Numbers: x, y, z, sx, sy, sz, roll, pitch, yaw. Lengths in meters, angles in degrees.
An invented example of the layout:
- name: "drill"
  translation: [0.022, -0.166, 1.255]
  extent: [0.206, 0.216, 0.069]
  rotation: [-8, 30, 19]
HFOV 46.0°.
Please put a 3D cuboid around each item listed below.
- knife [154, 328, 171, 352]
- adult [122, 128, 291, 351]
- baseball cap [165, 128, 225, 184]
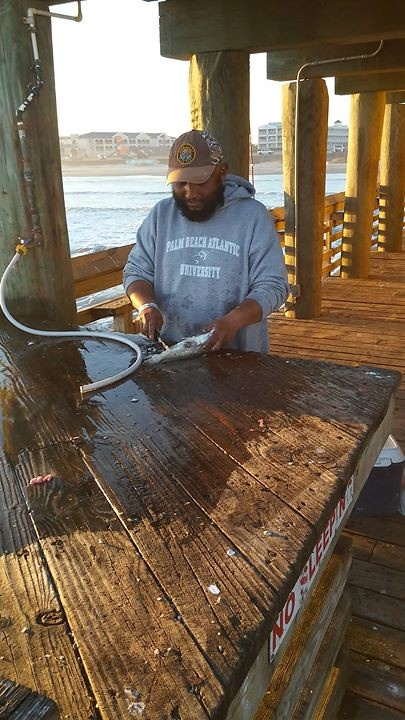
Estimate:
- name: "knife"
  translation: [-0.162, -0.084, 1.930]
  extent: [0.053, 0.083, 0.083]
  rotation: [-41, 2, 11]
- name: "adult"
  translation: [-0.004, -0.398, 2.233]
  extent: [0.712, 1.206, 0.681]
  rotation: [10, 22, 27]
- name: "baseball cap"
  translation: [-0.036, -0.852, 1.990]
  extent: [0.236, 0.206, 0.195]
  rotation: [-4, 22, 1]
